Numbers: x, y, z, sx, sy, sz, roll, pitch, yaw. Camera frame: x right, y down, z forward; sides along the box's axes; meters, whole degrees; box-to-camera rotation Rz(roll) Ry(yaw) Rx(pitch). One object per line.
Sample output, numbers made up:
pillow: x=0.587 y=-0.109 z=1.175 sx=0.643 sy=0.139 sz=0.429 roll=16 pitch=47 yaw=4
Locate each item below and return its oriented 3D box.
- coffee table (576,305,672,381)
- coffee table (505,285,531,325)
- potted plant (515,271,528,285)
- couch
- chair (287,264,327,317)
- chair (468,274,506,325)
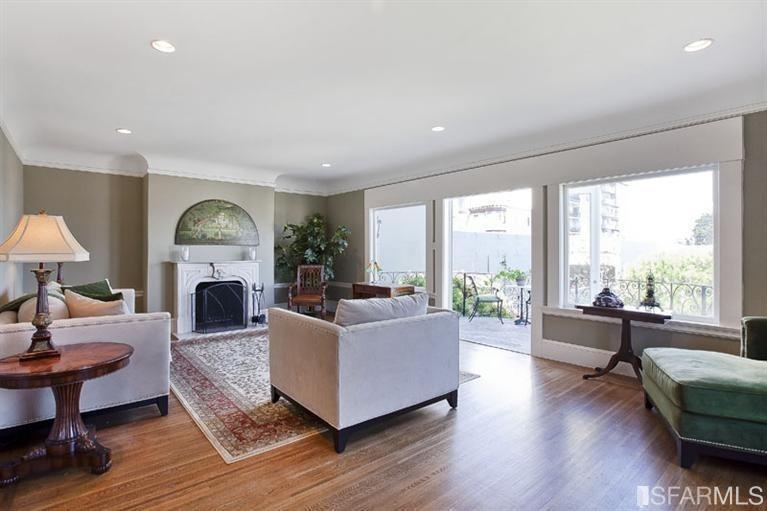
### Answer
coffee table: x=2.819 y=1.022 z=5.522 sx=0.927 sy=0.823 sz=0.939 roll=3 pitch=-1 yaw=30
coffee table: x=2.613 y=0.905 z=8.574 sx=0.701 sy=0.676 sz=0.652 roll=0 pitch=-7 yaw=2
potted plant: x=2.322 y=0.406 z=8.178 sx=0.269 sy=0.215 sz=0.269 roll=-5 pitch=-7 yaw=41
couch: x=-2.890 y=1.074 z=4.554 sx=1.210 sy=0.935 sz=1.673 roll=5 pitch=-5 yaw=-44
chair: x=-1.321 y=0.670 z=8.221 sx=0.664 sy=1.027 sz=0.697 roll=0 pitch=2 yaw=-12
chair: x=1.805 y=0.731 z=8.498 sx=0.700 sy=0.817 sz=0.596 roll=-1 pitch=0 yaw=25
